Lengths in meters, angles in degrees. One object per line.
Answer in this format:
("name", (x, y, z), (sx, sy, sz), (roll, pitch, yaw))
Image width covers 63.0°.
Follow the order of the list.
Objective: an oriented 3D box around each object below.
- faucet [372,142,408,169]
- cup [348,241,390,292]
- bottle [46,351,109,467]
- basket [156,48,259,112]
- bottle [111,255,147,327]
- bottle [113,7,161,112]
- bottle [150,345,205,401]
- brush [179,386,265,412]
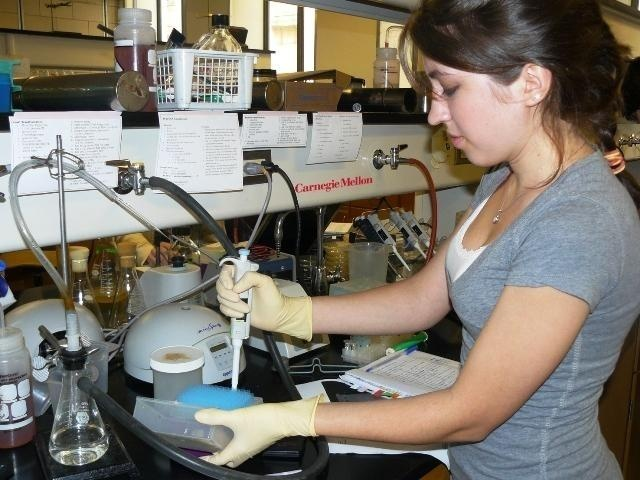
("faucet", (0.262, -0.323, 1.973), (0.125, 0.076, 0.075), (3, 5, 40))
("cup", (0.194, 0.109, 2.047), (0.172, 0.161, 0.145), (3, 10, 16))
("bottle", (-0.531, 0.351, 1.141), (0.119, 0.262, 0.143), (-13, 17, -42))
("basket", (-0.311, -0.413, 1.448), (0.241, 0.135, 0.166), (-5, 10, -39))
("bottle", (-0.654, 0.159, 1.770), (0.114, 0.229, 0.170), (-3, 13, -10))
("bottle", (-0.482, -0.476, 1.372), (0.108, 0.278, 0.221), (-6, 14, -20))
("bottle", (-0.346, 0.321, 1.327), (0.125, 0.126, 0.124), (0, 8, -3))
("brush", (-0.252, 0.384, 1.274), (0.135, 0.032, 0.084), (5, 9, 17))
